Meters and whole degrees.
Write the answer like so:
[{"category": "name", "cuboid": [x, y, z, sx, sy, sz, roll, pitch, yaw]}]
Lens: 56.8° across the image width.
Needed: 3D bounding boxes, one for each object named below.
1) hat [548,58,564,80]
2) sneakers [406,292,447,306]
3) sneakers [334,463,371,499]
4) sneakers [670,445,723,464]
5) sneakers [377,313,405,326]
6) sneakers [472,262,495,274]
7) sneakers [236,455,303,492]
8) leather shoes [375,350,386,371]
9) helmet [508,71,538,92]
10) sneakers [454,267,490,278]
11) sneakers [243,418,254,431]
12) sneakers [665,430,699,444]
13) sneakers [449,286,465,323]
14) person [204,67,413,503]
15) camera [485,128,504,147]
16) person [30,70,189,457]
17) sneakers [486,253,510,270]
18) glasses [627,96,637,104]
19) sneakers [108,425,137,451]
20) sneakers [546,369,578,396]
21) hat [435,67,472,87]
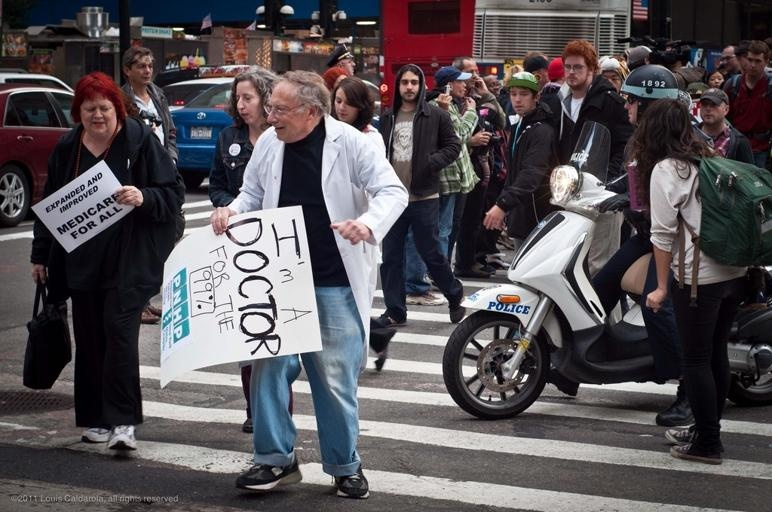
[{"category": "hat", "cuboid": [2.598, -2.826, 10.773, 0.182, 0.320, 0.225, 26, -10, -40]}, {"category": "sneakers", "cuboid": [0.550, 0.570, 9.710, 0.534, 0.239, 0.203, 1, 0, 3]}, {"category": "sneakers", "cuboid": [-0.213, 1.417, 4.449, 0.116, 0.125, 0.282, 1, -4, -13]}, {"category": "sneakers", "cuboid": [2.185, 1.388, 5.070, 0.349, 0.135, 0.126, 8, 4, 28]}, {"category": "sneakers", "cuboid": [0.052, 0.737, 8.138, 0.359, 0.138, 0.128, 5, 2, -10]}, {"category": "sneakers", "cuboid": [1.548, 0.205, 11.139, 0.383, 0.157, 0.140, 18, 12, -1]}, {"category": "sneakers", "cuboid": [-0.729, 1.380, 4.535, 0.421, 0.179, 0.154, 1, 3, -34]}, {"category": "leather shoes", "cuboid": [-0.053, 1.032, 6.984, 0.080, 0.164, 0.238, 5, 10, 6]}, {"category": "helmet", "cuboid": [1.544, -1.958, 8.055, 0.322, 0.245, 0.339, 2, 7, 8]}, {"category": "sneakers", "cuboid": [1.320, 0.268, 11.112, 0.552, 0.223, 0.184, 0, 8, -1]}, {"category": "sneakers", "cuboid": [-1.058, 1.313, 5.572, 0.092, 0.087, 0.199, 1, -2, -5]}, {"category": "sneakers", "cuboid": [2.180, 1.341, 5.282, 0.214, 0.093, 0.079, 10, -6, 40]}, {"category": "sneakers", "cuboid": [0.815, 0.564, 8.227, 0.147, 0.431, 0.190, 16, 9, 37]}, {"category": "person", "cuboid": [-0.450, 0.161, 4.535, 1.127, 2.621, 0.674, 1, 8, 3]}, {"category": "camera", "cuboid": [1.656, -1.806, 10.869, 0.241, 0.161, 0.386, 0, -6, 22]}, {"category": "person", "cuboid": [-1.929, -0.017, 5.061, 0.915, 2.517, 0.613, 0, 8, -10]}, {"category": "sneakers", "cuboid": [1.772, 0.098, 11.388, 0.505, 0.189, 0.175, 6, 4, -13]}, {"category": "glasses", "cuboid": [2.062, -1.304, 5.970, 0.067, 0.020, 0.064, 7, -1, -5]}, {"category": "sneakers", "cuboid": [-1.836, 1.273, 4.982, 0.110, 0.123, 0.292, 3, -17, -4]}, {"category": "sneakers", "cuboid": [1.495, 1.073, 6.018, 0.285, 0.248, 0.214, 3, 9, -10]}, {"category": "hat", "cuboid": [0.953, -2.485, 9.867, 0.506, 0.207, 0.314, -11, 15, -16]}]
